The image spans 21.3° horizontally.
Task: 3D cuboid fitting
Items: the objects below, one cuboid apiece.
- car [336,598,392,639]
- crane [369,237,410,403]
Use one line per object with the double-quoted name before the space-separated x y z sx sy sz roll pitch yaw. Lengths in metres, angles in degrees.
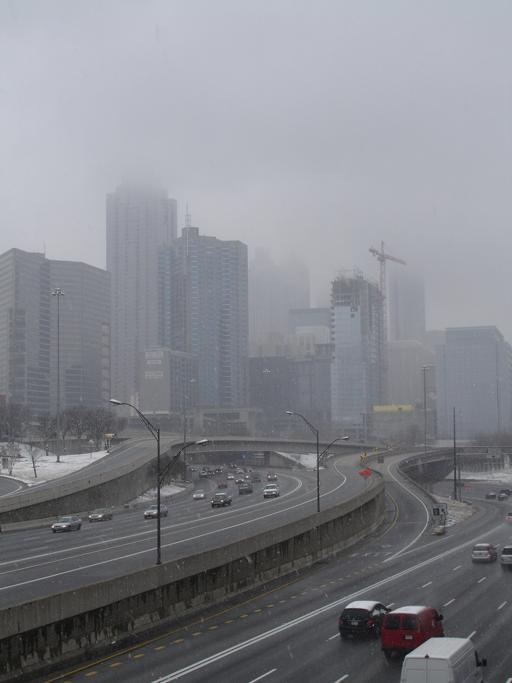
"car" 4.844 12.091 59.798 1.966 1.412 2.171 -8 -9 23
"crane" 43.874 0.704 452.471 6.675 61.391 11.365 -2 -5 -4
